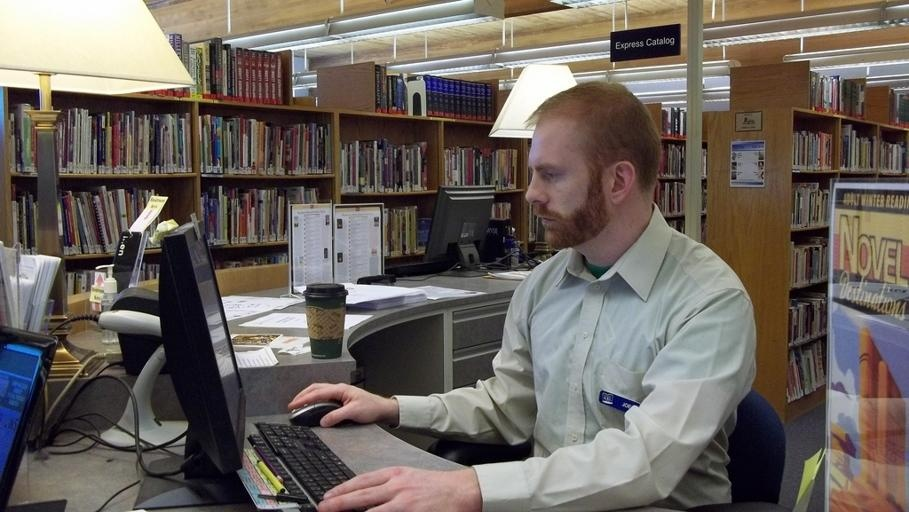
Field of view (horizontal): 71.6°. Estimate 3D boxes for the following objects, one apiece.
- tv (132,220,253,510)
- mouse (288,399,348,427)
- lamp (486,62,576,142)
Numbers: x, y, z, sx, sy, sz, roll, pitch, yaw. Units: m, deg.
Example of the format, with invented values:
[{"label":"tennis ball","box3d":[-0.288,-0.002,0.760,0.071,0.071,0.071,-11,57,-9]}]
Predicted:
[{"label":"tv","box3d":[-0.737,0.300,1.817,0.289,0.787,0.356,-2,4,-19]},{"label":"mouse","box3d":[-0.445,0.522,2.086,0.149,0.052,0.073,3,-3,-16]},{"label":"lamp","box3d":[0.457,-0.993,3.960,0.708,0.510,0.706,1,3,5]}]
